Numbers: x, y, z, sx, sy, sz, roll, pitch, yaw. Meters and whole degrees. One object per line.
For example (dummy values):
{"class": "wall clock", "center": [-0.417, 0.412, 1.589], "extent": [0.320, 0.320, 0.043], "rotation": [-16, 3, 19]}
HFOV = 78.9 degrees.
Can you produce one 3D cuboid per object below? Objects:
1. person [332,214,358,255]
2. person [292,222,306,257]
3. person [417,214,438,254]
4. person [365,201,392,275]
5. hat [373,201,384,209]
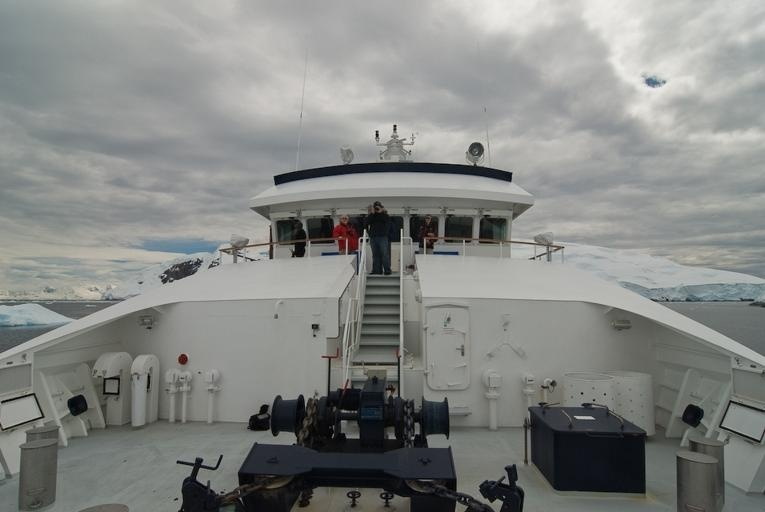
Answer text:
{"class": "person", "center": [-1.178, -0.703, 14.373], "extent": [0.744, 1.237, 0.957], "rotation": [0, 0, -5]}
{"class": "person", "center": [-2.692, -0.573, 15.051], "extent": [0.413, 1.112, 0.837], "rotation": [0, 0, -21]}
{"class": "person", "center": [1.315, -0.722, 14.125], "extent": [0.589, 1.182, 1.325], "rotation": [0, 0, 6]}
{"class": "person", "center": [-0.148, -0.544, 13.999], "extent": [0.695, 2.138, 0.641], "rotation": [0, 0, 3]}
{"class": "hat", "center": [-0.158, -1.546, 13.818], "extent": [0.210, 0.342, 0.328], "rotation": [-3, 4, 1]}
